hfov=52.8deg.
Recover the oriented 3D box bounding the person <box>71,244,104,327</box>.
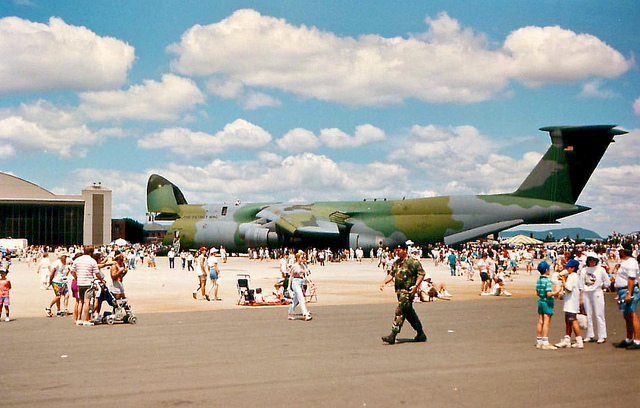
[{"bbox_3d":[-6.998,2.407,19.336,0.783,2.339,0.955,0,-3,-21],"label":"person"}]

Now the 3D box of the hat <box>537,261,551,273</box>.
[{"bbox_3d":[5.768,1.625,16.626,0.259,0.276,0.574,-3,-3,19],"label":"hat"}]

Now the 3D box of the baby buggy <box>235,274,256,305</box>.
[{"bbox_3d":[-2.684,3.180,23.756,0.738,0.980,0.824,-10,-13,34],"label":"baby buggy"}]

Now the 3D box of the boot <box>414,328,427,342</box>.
[{"bbox_3d":[2.692,3.473,17.227,0.333,0.334,0.431,-2,-3,8],"label":"boot"}]

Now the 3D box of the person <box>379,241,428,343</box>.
[{"bbox_3d":[2.261,2.417,17.283,1.143,2.471,1.395,-2,-3,11],"label":"person"}]

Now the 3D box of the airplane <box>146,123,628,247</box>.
[{"bbox_3d":[3.487,-0.446,55.852,42.213,8.612,13.134,-3,-3,32],"label":"airplane"}]

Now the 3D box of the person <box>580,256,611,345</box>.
[{"bbox_3d":[7.337,2.526,17.161,0.702,2.297,1.150,-3,-3,22],"label":"person"}]

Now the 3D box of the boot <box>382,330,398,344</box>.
[{"bbox_3d":[1.827,3.455,16.765,0.393,0.357,0.288,-2,-3,4],"label":"boot"}]

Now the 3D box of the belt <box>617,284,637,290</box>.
[{"bbox_3d":[7.794,2.127,16.403,0.238,0.171,0.239,-2,-6,16],"label":"belt"}]

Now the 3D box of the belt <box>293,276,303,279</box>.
[{"bbox_3d":[-0.680,2.268,19.917,0.277,0.069,0.078,0,-3,-25],"label":"belt"}]

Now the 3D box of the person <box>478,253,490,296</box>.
[{"bbox_3d":[6.870,2.913,26.952,0.399,1.666,1.406,-2,-3,14],"label":"person"}]
